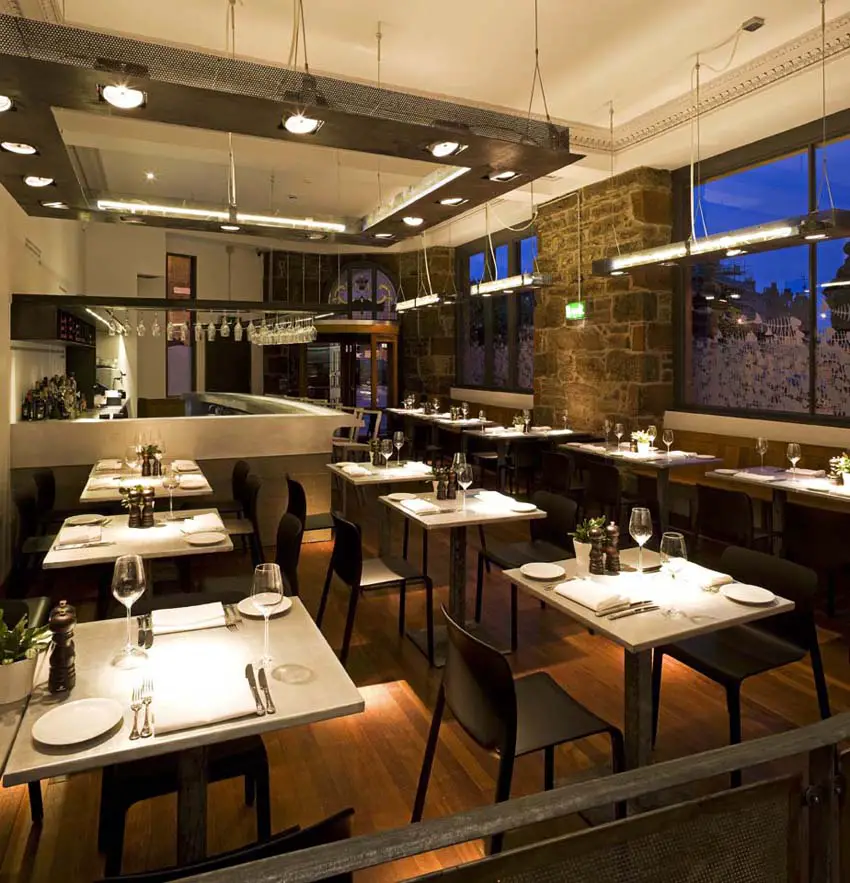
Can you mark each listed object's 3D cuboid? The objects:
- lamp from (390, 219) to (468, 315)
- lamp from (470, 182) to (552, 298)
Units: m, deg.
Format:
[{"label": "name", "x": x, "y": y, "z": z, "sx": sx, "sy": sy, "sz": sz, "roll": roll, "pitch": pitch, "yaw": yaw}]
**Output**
[{"label": "lamp", "x": 0.006, "y": -2.900, "z": 12.762, "sx": 1.223, "sy": 1.194, "sz": 0.656, "roll": 2, "pitch": -4, "yaw": 29}, {"label": "lamp", "x": 0.879, "y": -2.272, "z": 8.260, "sx": 0.972, "sy": 1.040, "sz": 1.050, "roll": 5, "pitch": 11, "yaw": 30}]
